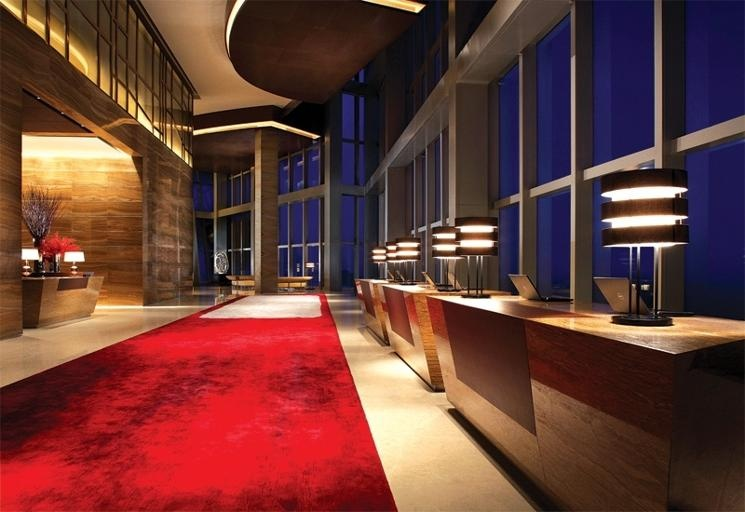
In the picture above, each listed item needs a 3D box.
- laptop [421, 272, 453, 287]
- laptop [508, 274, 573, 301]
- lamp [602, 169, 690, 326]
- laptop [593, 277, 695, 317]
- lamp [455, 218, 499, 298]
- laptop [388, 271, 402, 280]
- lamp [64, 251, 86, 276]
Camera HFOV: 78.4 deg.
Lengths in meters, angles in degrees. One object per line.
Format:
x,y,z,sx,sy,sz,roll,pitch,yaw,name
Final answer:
0.975,0.402,6.789,0.369,0.164,0.364,-1,-3,-4,laptop
1.713,0.330,4.674,0.382,0.282,0.593,-3,-2,0,laptop
1.885,-0.128,3.149,0.521,1.107,1.125,-4,-2,34,lamp
1.893,0.278,3.252,0.417,0.243,0.379,2,-5,-11,laptop
1.150,0.050,5.098,0.523,0.845,0.517,3,-5,-14,lamp
0.576,0.518,11.373,0.228,0.226,0.406,5,-6,-6,laptop
-7.321,0.194,11.157,0.618,0.652,0.616,-5,-5,40,lamp
